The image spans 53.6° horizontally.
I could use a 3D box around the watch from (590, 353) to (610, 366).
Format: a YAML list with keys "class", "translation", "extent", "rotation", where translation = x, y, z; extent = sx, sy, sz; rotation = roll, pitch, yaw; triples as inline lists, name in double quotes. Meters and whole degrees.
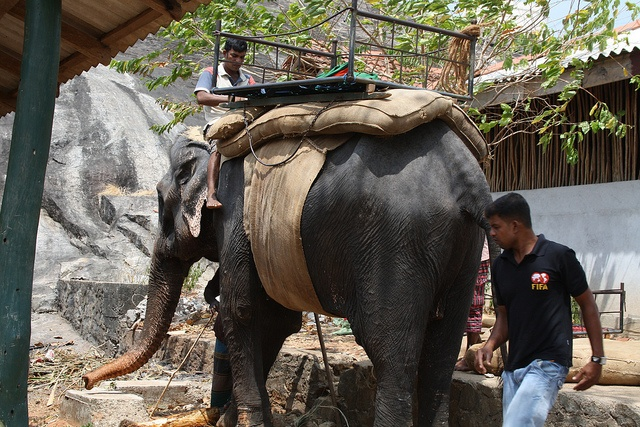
- class: "watch"
  translation: [2.040, 1.075, 4.644]
  extent: [0.112, 0.065, 0.108]
  rotation: [9, -16, -16]
